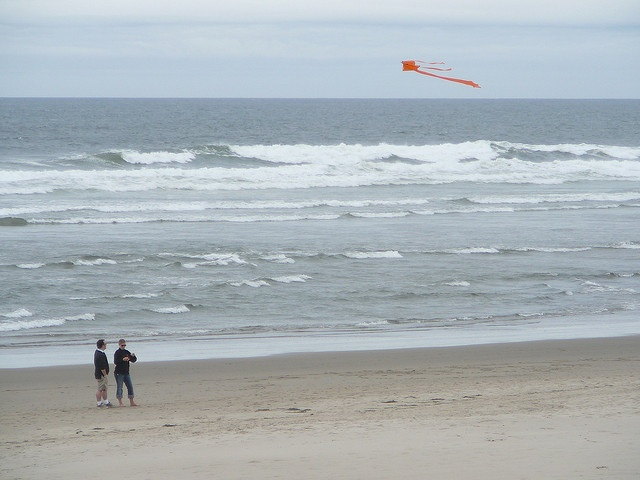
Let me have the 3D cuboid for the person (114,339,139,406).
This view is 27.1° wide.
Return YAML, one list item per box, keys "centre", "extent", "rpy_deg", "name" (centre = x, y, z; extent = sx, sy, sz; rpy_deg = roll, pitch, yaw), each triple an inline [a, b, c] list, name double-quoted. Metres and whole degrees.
- centre: [-5.567, 3.738, 38.240]
  extent: [0.648, 1.872, 1.370]
  rpy_deg: [-5, 8, -8]
  name: "person"

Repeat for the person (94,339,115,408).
- centre: [-6.210, 3.770, 37.981]
  extent: [0.459, 1.850, 0.859]
  rpy_deg: [-6, 9, -9]
  name: "person"

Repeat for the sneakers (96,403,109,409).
- centre: [-6.095, 4.655, 37.764]
  extent: [0.375, 0.127, 0.155]
  rpy_deg: [-2, 7, -5]
  name: "sneakers"
